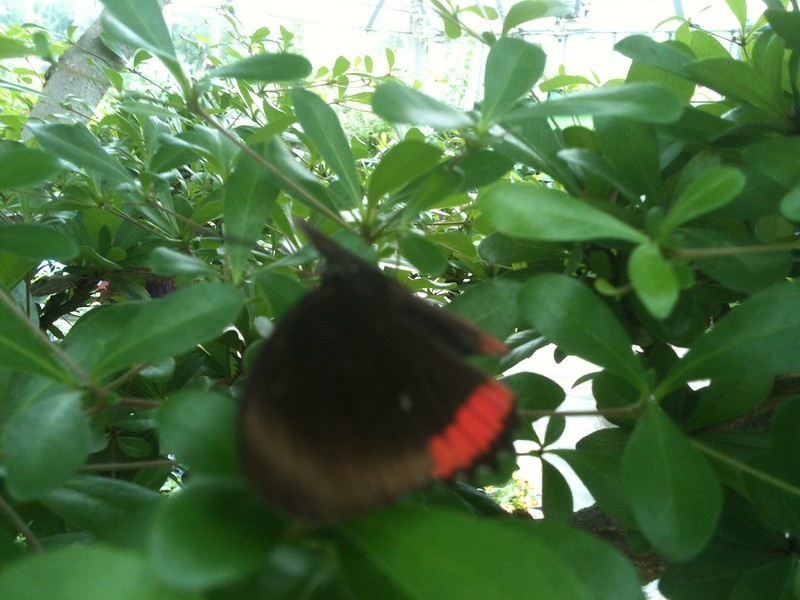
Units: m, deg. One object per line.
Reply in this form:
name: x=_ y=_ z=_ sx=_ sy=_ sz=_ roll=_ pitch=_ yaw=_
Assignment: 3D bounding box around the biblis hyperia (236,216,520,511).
biblis hyperia: x=-0.029 y=0.053 z=0.447 sx=0.129 sy=0.194 sz=0.199 roll=6 pitch=-17 yaw=-45
